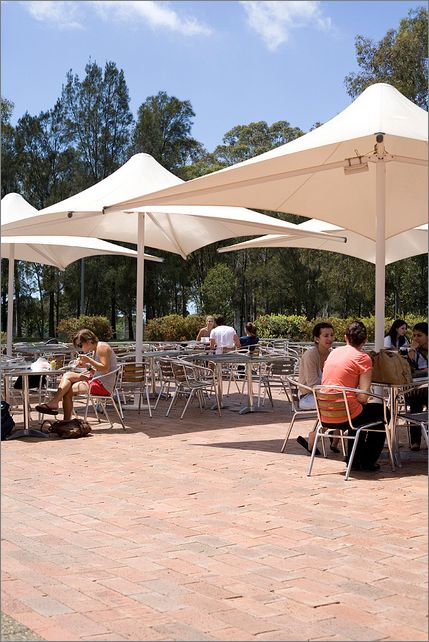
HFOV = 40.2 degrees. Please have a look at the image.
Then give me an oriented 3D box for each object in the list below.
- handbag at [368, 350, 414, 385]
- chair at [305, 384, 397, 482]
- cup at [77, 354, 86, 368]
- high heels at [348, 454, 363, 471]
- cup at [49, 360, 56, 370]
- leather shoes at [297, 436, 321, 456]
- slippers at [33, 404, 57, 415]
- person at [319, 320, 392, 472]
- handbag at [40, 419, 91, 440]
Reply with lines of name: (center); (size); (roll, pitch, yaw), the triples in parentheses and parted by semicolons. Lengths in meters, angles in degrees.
handbag: (1.567, 0.399, 5.222); (0.252, 0.303, 0.452); (-30, -17, 27)
chair: (1.156, 0.946, 5.092); (0.661, 0.728, 0.588); (1, -6, -27)
cup: (-1.701, 0.516, 7.493); (0.115, 0.116, 0.177); (-16, -22, -6)
high heels: (1.254, 1.261, 5.273); (0.124, 0.208, 0.122); (-1, 0, -4)
cup: (-2.033, 0.554, 7.324); (0.052, 0.094, 0.104); (0, -3, -20)
leather shoes: (0.943, 1.272, 6.021); (0.103, 0.302, 0.111); (-44, 2, -32)
slippers: (-2.080, 1.107, 7.241); (0.131, 0.079, 0.235); (-4, -18, 44)
person: (1.183, 0.663, 5.048); (0.514, 1.308, 0.598); (-3, -4, 32)
handbag: (-1.838, 1.331, 7.257); (0.427, 0.157, 0.341); (-1, -3, 41)
